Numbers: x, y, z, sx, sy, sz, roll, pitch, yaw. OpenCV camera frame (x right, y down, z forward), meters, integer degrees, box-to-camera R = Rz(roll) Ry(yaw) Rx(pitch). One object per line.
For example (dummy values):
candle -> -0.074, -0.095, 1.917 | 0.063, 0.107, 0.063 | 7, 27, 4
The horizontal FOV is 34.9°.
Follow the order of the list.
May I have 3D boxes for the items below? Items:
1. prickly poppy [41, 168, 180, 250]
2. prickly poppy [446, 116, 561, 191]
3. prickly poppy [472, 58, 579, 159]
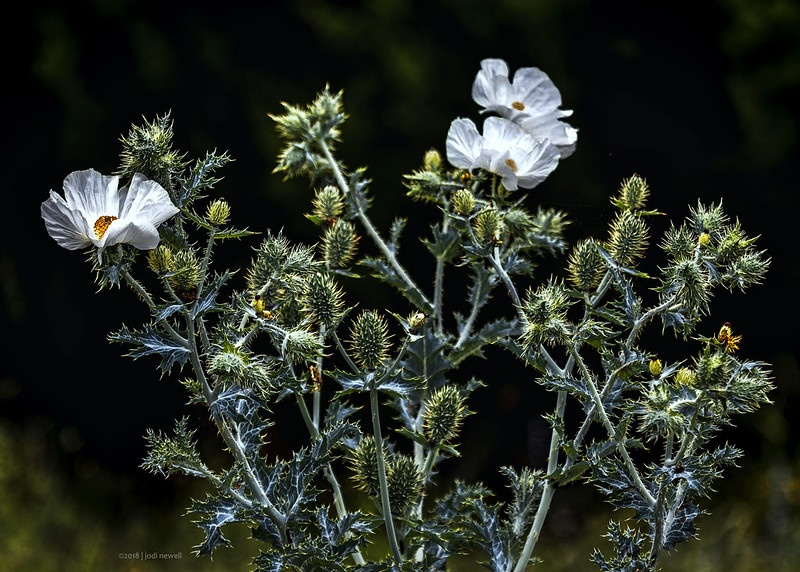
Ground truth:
prickly poppy -> -0.984, -0.266, 4.378 | 0.377, 0.190, 0.390 | -5, -51, 6
prickly poppy -> 0.386, -0.482, 4.730 | 0.425, 0.281, 0.220 | -1, -33, 1
prickly poppy -> 0.432, -0.706, 4.917 | 0.472, 0.216, 0.588 | 9, -3, -28
